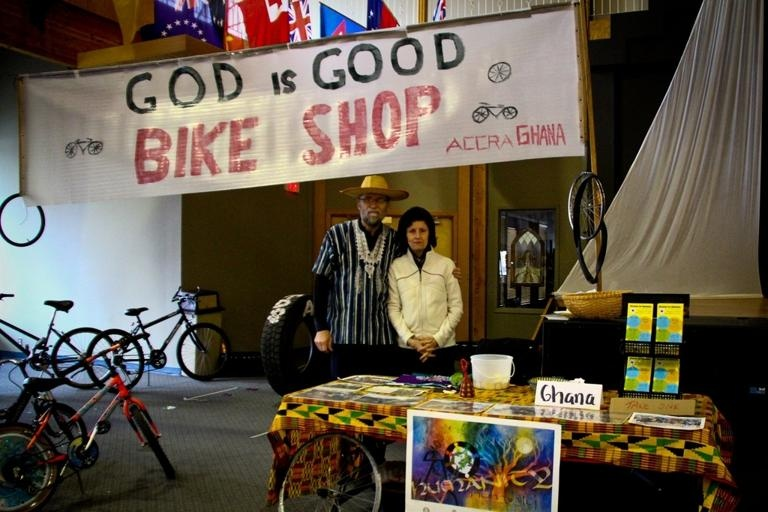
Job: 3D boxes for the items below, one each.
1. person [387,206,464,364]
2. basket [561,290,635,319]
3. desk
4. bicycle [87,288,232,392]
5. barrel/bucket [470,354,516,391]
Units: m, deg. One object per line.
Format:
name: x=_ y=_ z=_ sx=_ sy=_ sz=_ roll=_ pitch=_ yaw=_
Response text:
person: x=0.280 y=0.195 z=4.532 sx=0.529 sy=1.076 sz=0.342 roll=-1 pitch=1 yaw=1
basket: x=1.332 y=0.311 z=4.039 sx=0.391 sy=0.176 sz=0.243 roll=0 pitch=1 yaw=32
desk: x=0.640 y=1.080 z=3.604 sx=2.536 sy=0.603 sz=0.553 roll=-1 pitch=1 yaw=13
bicycle: x=-2.676 y=0.984 z=7.834 sx=1.691 sy=1.278 sz=0.943 roll=-2 pitch=2 yaw=-19
barrel/bucket: x=0.634 y=0.680 z=3.759 sx=0.189 sy=0.139 sz=0.208 roll=0 pitch=4 yaw=0
